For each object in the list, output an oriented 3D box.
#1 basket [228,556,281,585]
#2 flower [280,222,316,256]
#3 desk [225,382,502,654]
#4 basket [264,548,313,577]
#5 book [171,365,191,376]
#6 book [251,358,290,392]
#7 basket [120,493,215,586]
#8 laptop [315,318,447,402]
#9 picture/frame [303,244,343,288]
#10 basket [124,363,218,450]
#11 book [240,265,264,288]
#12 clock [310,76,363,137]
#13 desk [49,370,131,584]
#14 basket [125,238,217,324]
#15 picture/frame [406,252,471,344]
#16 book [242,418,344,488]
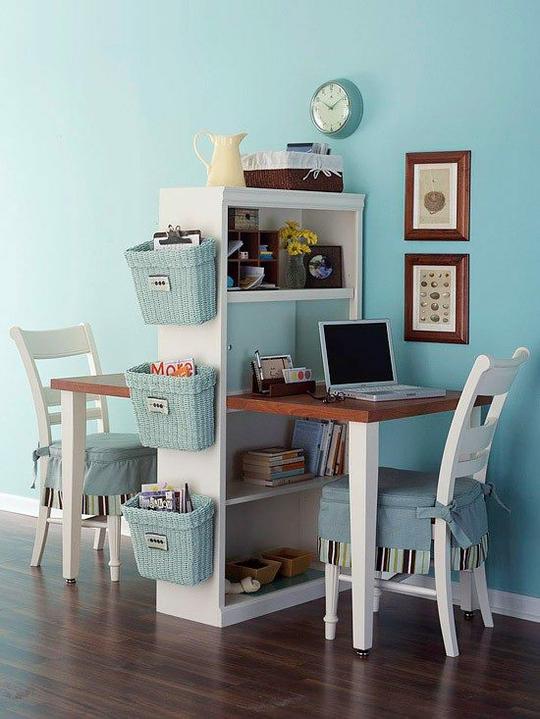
[{"bbox_3d":[-0.051,0.764,2.521,0.136,0.048,0.098,-6,-8,36],"label":"basket"},{"bbox_3d":[0.103,-0.465,2.648,0.153,0.145,0.149,-1,-1,-12],"label":"flower"},{"bbox_3d":[0.257,0.449,2.376,0.748,0.686,0.743,-3,4,-44],"label":"desk"},{"bbox_3d":[0.084,0.795,2.662,0.105,0.051,0.135,3,-4,-45],"label":"basket"},{"bbox_3d":[-0.289,0.033,2.168,0.047,0.043,0.011,-7,-10,28],"label":"book"},{"bbox_3d":[-0.002,0.057,2.333,0.122,0.106,0.039,-1,-1,-43],"label":"book"},{"bbox_3d":[-0.333,0.616,2.265,0.331,0.327,0.153,3,8,34],"label":"basket"},{"bbox_3d":[0.375,-0.002,2.319,0.367,0.266,0.311,-3,4,-44],"label":"laptop"},{"bbox_3d":[0.212,-0.370,2.709,0.197,0.198,0.022,1,0,13],"label":"picture/frame"},{"bbox_3d":[-0.316,0.161,2.216,0.315,0.281,0.143,3,8,37],"label":"basket"},{"bbox_3d":[-0.067,-0.298,2.433,0.090,0.075,0.074,2,4,25],"label":"book"},{"bbox_3d":[0.266,-0.999,2.709,0.105,0.206,0.212,-8,9,-41],"label":"clock"},{"bbox_3d":[-0.671,0.486,2.626,0.411,0.811,0.185,4,9,40],"label":"desk"},{"bbox_3d":[-0.308,-0.250,2.192,0.341,0.261,0.144,5,9,44],"label":"basket"},{"bbox_3d":[0.632,-0.234,2.498,0.030,0.413,0.355,-2,3,-44],"label":"picture/frame"},{"bbox_3d":[0.086,0.342,2.619,0.297,0.177,0.260,-7,9,-44],"label":"book"}]
